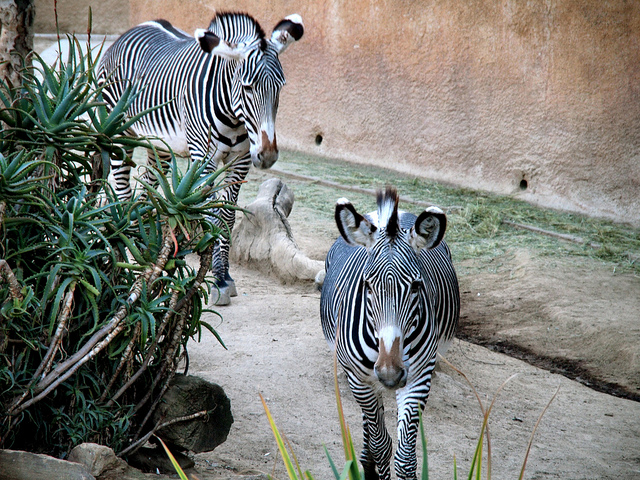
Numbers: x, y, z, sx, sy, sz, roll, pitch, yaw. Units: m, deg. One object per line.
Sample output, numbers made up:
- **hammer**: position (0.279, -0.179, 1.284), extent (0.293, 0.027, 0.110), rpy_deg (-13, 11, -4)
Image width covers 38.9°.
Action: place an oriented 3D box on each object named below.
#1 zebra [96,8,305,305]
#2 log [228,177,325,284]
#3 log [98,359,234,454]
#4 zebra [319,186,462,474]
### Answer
- **zebra**: position (-1.236, -0.867, 8.542), extent (1.270, 2.610, 2.278), rpy_deg (-2, 15, -33)
- **log**: position (-0.480, -0.055, 9.522), extent (0.354, 1.093, 1.345), rpy_deg (4, 29, -39)
- **log**: position (-0.963, 1.094, 5.832), extent (0.827, 0.626, 0.245), rpy_deg (2, 12, -22)
- **zebra**: position (0.413, 0.697, 6.147), extent (0.849, 2.003, 0.949), rpy_deg (8, 12, 12)
